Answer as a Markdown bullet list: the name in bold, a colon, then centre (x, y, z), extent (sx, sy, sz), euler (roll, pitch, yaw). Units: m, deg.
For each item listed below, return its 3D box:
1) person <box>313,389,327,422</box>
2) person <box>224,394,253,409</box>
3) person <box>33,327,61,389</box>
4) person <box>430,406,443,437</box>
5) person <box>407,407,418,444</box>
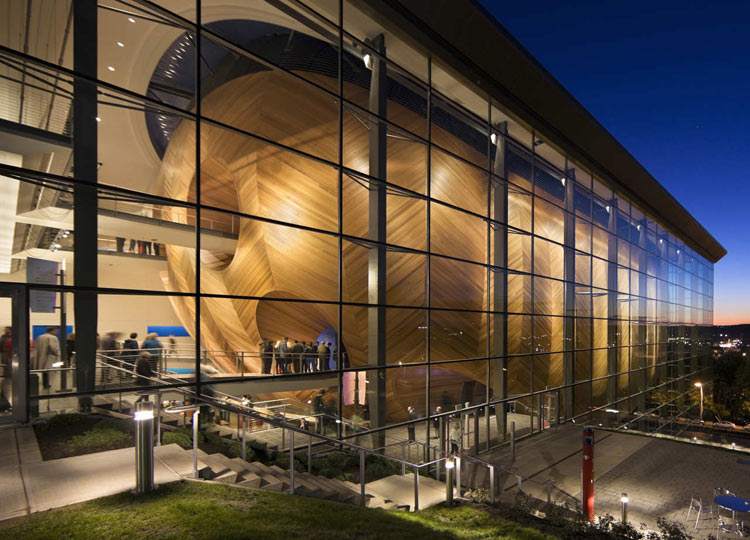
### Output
- **person**: centre (-1.687, 4.249, 17.179), extent (0.358, 0.935, 1.091), euler (3, -12, -5)
- **person**: centre (-4.244, 4.133, 17.031), extent (1.094, 0.269, 0.998), euler (8, -7, -42)
- **person**: centre (-7.490, 2.017, 12.420), extent (0.447, 1.368, 0.384), euler (3, -12, -3)
- **person**: centre (2.209, 5.369, 19.023), extent (0.351, 0.973, 0.864), euler (0, -12, 7)
- **person**: centre (1.280, 5.184, 18.248), extent (0.301, 1.001, 0.586), euler (1, -12, 4)
